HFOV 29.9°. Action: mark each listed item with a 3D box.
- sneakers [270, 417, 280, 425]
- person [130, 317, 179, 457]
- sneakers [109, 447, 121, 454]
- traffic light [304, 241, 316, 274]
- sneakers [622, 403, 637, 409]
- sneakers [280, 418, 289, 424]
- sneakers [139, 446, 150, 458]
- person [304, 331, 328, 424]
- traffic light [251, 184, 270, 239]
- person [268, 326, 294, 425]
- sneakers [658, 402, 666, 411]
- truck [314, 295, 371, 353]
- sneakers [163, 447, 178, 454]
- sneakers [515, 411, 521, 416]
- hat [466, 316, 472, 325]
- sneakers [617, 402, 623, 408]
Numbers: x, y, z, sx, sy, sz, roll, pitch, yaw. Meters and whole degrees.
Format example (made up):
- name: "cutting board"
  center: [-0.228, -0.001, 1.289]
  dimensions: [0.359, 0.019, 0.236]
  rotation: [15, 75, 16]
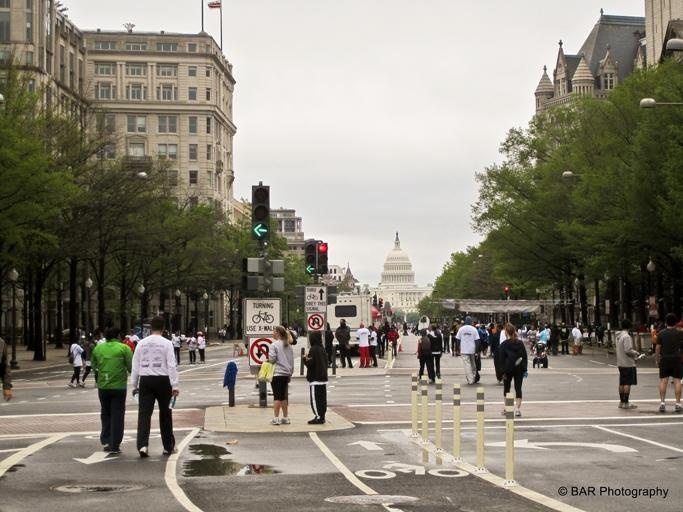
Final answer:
- name: "sneakers"
  center: [-1.674, 4.283, 33.093]
  dimensions: [0.244, 0.222, 0.399]
  rotation: [1, -7, -3]
- name: "person"
  center: [-4.253, 2.977, 29.035]
  dimensions: [1.072, 3.189, 1.017]
  rotation: [0, -6, 5]
- name: "sneakers"
  center: [-5.199, 4.461, 29.259]
  dimensions: [0.292, 0.201, 0.105]
  rotation: [-1, 8, -14]
- name: "traffic light"
  center: [-1.075, -0.004, 45.687]
  dimensions: [0.333, 1.167, 0.885]
  rotation: [0, -6, 2]
- name: "sneakers"
  center: [8.193, 4.215, 35.883]
  dimensions: [0.435, 0.188, 0.184]
  rotation: [-1, 6, -11]
- name: "sneakers"
  center: [-1.434, 4.294, 33.171]
  dimensions: [0.211, 0.154, 0.267]
  rotation: [1, -7, -3]
- name: "sneakers"
  center: [-4.504, 4.460, 29.004]
  dimensions: [0.123, 0.159, 0.371]
  rotation: [2, -20, -3]
- name: "person"
  center: [-0.658, 3.159, 33.363]
  dimensions: [0.601, 2.456, 0.767]
  rotation: [1, -6, -2]
- name: "traffic light"
  center: [-2.247, -1.246, 35.820]
  dimensions: [0.450, 1.590, 0.545]
  rotation: [1, -6, -9]
- name: "person"
  center: [-1.582, 3.102, 33.279]
  dimensions: [0.630, 2.547, 0.479]
  rotation: [2, -6, -11]
- name: "sneakers"
  center: [8.850, 4.151, 34.938]
  dimensions: [0.118, 0.150, 0.355]
  rotation: [-1, -8, 5]
- name: "truck"
  center: [0.428, 4.014, 67.628]
  dimensions: [2.301, 2.548, 3.817]
  rotation: [0, -1, 8]
- name: "sneakers"
  center: [-3.924, 4.453, 29.199]
  dimensions: [0.274, 0.101, 0.143]
  rotation: [-3, 4, 2]
- name: "sneakers"
  center: [4.824, 4.274, 34.594]
  dimensions: [0.170, 0.187, 0.478]
  rotation: [-2, -7, 4]
- name: "hat"
  center: [4.604, 2.275, 45.242]
  dimensions: [0.247, 0.304, 0.315]
  rotation: [1, -2, -3]
- name: "sneakers"
  center: [7.973, 4.236, 36.221]
  dimensions: [0.148, 0.188, 0.441]
  rotation: [0, -6, 3]
